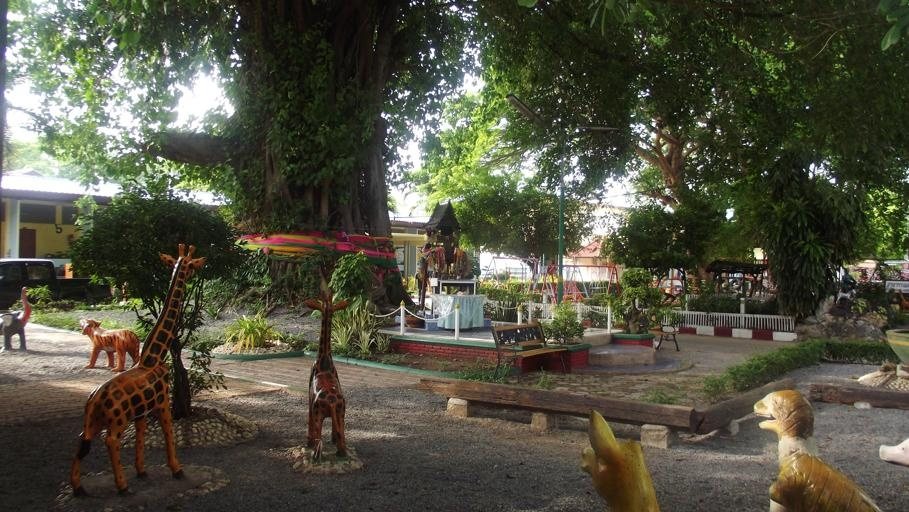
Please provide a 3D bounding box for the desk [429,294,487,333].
[{"bbox_3d":[0.262,1.907,23.139,2.161,1.312,2.117,1,12,9],"label":"desk"}]

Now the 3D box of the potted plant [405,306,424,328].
[{"bbox_3d":[-1.466,2.281,22.638,0.657,0.486,0.706,1,-6,-9],"label":"potted plant"}]

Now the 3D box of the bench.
[{"bbox_3d":[2.175,2.742,18.451,1.281,1.494,2.992,-3,-6,41],"label":"bench"}]
